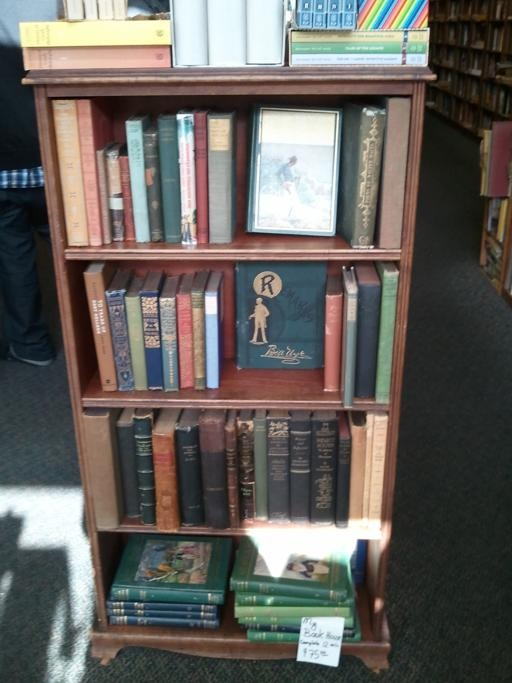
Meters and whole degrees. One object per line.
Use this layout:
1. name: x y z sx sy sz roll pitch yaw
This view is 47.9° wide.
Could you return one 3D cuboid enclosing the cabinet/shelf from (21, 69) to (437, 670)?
1. cabinet/shelf: -0.079 0.164 1.598 0.922 1.687 0.473 -1 27 3
